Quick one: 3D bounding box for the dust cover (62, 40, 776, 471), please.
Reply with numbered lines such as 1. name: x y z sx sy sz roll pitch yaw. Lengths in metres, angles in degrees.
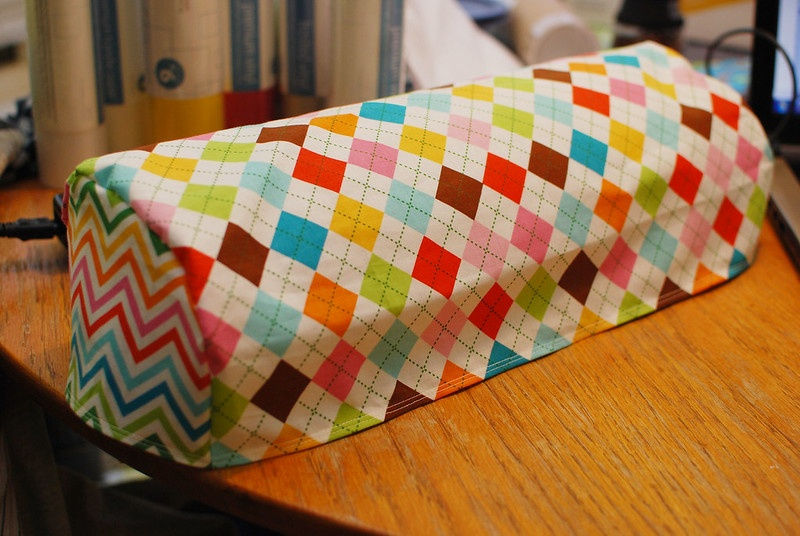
1. dust cover: 0.049 -0.053 0.867 0.658 0.236 0.355 -23 42 -22
